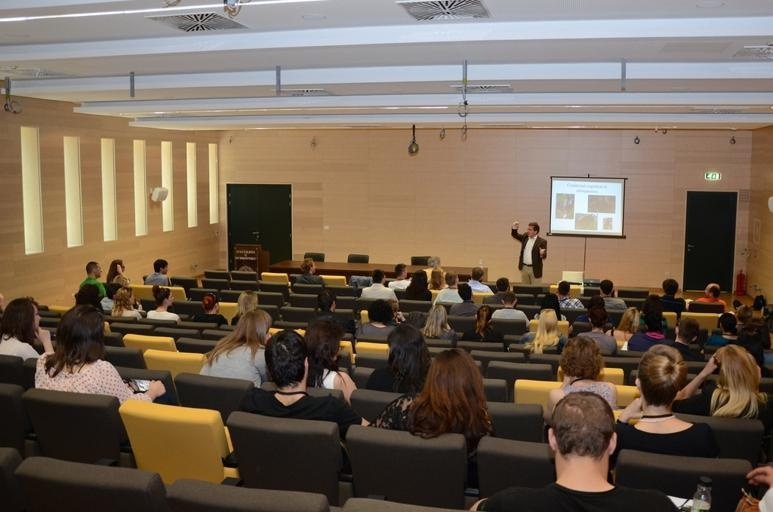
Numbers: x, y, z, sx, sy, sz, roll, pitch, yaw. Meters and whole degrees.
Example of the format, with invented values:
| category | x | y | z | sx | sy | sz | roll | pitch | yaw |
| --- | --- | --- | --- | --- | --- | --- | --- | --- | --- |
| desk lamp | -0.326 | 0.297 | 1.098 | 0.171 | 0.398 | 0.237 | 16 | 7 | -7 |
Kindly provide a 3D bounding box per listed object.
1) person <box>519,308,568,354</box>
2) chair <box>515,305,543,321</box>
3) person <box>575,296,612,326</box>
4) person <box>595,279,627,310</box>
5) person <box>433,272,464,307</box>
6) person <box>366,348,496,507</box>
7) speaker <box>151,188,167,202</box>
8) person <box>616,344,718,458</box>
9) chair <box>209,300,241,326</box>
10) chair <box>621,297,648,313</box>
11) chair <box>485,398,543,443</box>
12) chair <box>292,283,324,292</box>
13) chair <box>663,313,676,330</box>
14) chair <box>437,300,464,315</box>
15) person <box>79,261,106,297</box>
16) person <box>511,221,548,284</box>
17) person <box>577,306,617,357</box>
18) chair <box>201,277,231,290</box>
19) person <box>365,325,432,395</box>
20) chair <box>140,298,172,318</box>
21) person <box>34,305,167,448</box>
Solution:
| category | x | y | z | sx | sy | sz | roll | pitch | yaw |
| --- | --- | --- | --- | --- | --- | --- | --- | --- | --- |
| person | 1.989 | 0.973 | 7.417 | 0.437 | 0.743 | 0.412 | 5 | 10 | 34 |
| chair | 2.348 | 0.910 | 9.619 | 0.385 | 0.251 | 0.204 | 0 | 3 | 3 |
| person | 3.028 | 0.816 | 8.507 | 0.445 | 0.795 | 0.502 | 0 | 0 | 24 |
| person | 4.162 | 0.728 | 10.844 | 0.462 | 0.785 | 0.434 | 0 | 26 | 24 |
| person | 1.185 | 0.648 | 10.731 | 0.419 | 0.740 | 0.648 | -6 | -12 | -2 |
| person | 0.456 | 1.159 | 4.406 | 0.894 | 1.192 | 1.012 | 0 | 9 | 13 |
| speaker | -5.917 | -1.589 | 15.053 | 0.172 | 0.293 | 0.314 | 28 | 6 | 13 |
| person | 2.222 | 1.176 | 4.610 | 0.662 | 1.116 | 0.581 | -1 | 21 | 13 |
| chair | -2.339 | 0.828 | 8.377 | 0.419 | 0.397 | 0.316 | 7 | 16 | 13 |
| chair | 4.005 | 0.806 | 9.429 | 0.394 | 0.261 | 0.214 | 4 | 30 | 17 |
| chair | 1.051 | 1.329 | 4.906 | 0.352 | 0.476 | 0.379 | 1 | 17 | 12 |
| chair | -1.506 | 0.625 | 11.071 | 0.747 | 0.145 | 0.271 | 2 | 3 | 21 |
| chair | 4.344 | 1.012 | 8.966 | 0.222 | 0.210 | 0.219 | 4 | 23 | 18 |
| chair | 0.995 | 0.804 | 9.033 | 0.279 | 0.278 | 0.205 | 4 | 23 | 11 |
| person | -5.292 | 0.444 | 10.500 | 0.703 | 0.633 | 0.373 | 4 | 11 | 37 |
| person | 3.424 | -0.093 | 14.133 | 0.765 | 1.427 | 2.362 | 2 | 3 | 12 |
| person | 2.531 | 0.915 | 6.998 | 0.311 | 0.782 | 0.447 | -2 | 50 | 18 |
| chair | -3.322 | 0.534 | 11.360 | 0.331 | 0.309 | 0.256 | 5 | 17 | 9 |
| person | 0.110 | 0.961 | 5.123 | 0.581 | 0.729 | 0.366 | 7 | 25 | -2 |
| chair | -3.342 | 0.761 | 8.440 | 0.324 | 0.281 | 0.163 | 6 | 3 | 11 |
| person | -2.523 | 1.069 | 5.142 | 0.989 | 1.337 | 0.844 | 8 | 20 | 8 |
